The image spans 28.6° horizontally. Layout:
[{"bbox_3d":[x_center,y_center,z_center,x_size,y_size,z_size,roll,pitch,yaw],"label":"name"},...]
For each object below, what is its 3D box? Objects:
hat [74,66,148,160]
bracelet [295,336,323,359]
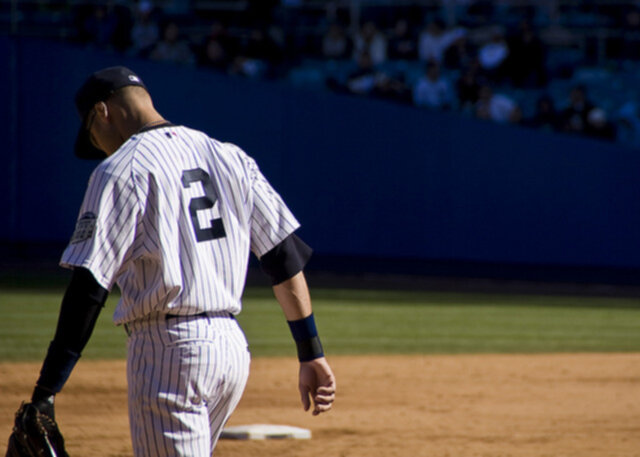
[{"bbox_3d":[-1.898,-1.037,10.893,0.593,0.841,0.434,-13,49,-36],"label":"hat"},{"bbox_3d":[-0.080,1.061,10.914,0.205,0.162,0.204,-12,-7,-2],"label":"bracelet"}]
